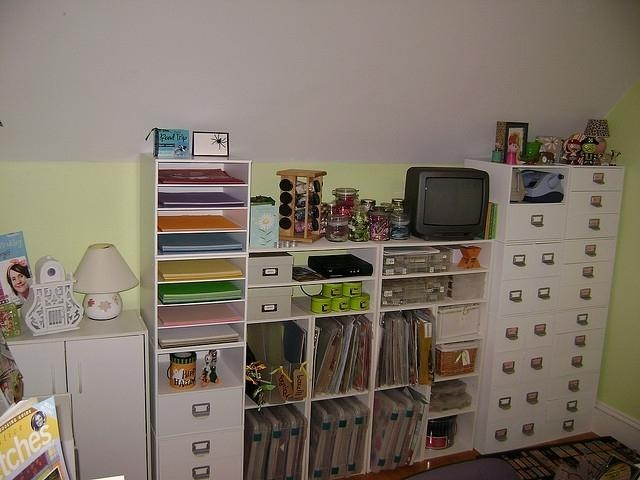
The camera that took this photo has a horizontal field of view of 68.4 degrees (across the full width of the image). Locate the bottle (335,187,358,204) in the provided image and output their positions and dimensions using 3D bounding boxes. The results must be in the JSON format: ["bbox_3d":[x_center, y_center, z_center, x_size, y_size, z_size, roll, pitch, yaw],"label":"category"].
[{"bbox_3d":[0.173,-0.293,3.083,0.130,0.126,0.095,3,11,4],"label":"bottle"}]

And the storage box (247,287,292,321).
[{"bbox_3d":[-0.304,0.371,2.898,0.219,0.134,0.220,-1,4,-14],"label":"storage box"}]

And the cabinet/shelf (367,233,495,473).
[{"bbox_3d":[0.758,0.816,3.375,0.917,1.593,0.339,-6,12,-34],"label":"cabinet/shelf"}]

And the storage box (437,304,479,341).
[{"bbox_3d":[0.980,0.597,3.475,0.356,0.254,0.256,-3,6,-22],"label":"storage box"}]

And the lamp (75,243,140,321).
[{"bbox_3d":[-1.277,0.263,2.769,0.328,0.453,0.275,7,12,33],"label":"lamp"}]

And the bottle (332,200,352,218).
[{"bbox_3d":[0.149,-0.202,3.085,0.111,0.107,0.112,6,10,28],"label":"bottle"}]

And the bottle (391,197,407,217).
[{"bbox_3d":[0.549,-0.221,3.252,0.112,0.126,0.112,-5,10,-18],"label":"bottle"}]

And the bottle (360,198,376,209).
[{"bbox_3d":[0.320,-0.243,3.149,0.082,0.055,0.082,3,5,0],"label":"bottle"}]

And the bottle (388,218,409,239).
[{"bbox_3d":[0.536,-0.081,3.228,0.132,0.126,0.132,-1,12,-7],"label":"bottle"}]

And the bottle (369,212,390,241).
[{"bbox_3d":[0.406,-0.094,3.187,0.165,0.182,0.171,-6,9,-40],"label":"bottle"}]

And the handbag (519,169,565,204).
[{"bbox_3d":[1.585,-0.386,3.443,0.277,0.206,0.283,-3,9,-20],"label":"handbag"}]

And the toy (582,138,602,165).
[{"bbox_3d":[2.011,-0.662,3.505,0.155,0.198,0.051,-1,10,-7],"label":"toy"}]

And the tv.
[{"bbox_3d":[0.845,-0.248,3.364,0.549,0.486,0.421,-3,8,-25],"label":"tv"}]

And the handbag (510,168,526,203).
[{"bbox_3d":[1.364,-0.380,3.270,0.125,0.217,0.032,-6,11,-32],"label":"handbag"}]

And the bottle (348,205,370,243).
[{"bbox_3d":[0.227,-0.090,3.129,0.158,0.264,0.160,-6,-2,0],"label":"bottle"}]

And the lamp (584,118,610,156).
[{"bbox_3d":[2.160,-0.800,3.694,0.206,0.258,0.206,-6,8,-33],"label":"lamp"}]

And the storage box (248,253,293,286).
[{"bbox_3d":[-0.294,0.181,2.861,0.211,0.132,0.211,0,7,-14],"label":"storage box"}]

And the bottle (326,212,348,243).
[{"bbox_3d":[0.115,-0.071,3.021,0.156,0.150,0.156,7,10,37],"label":"bottle"}]
